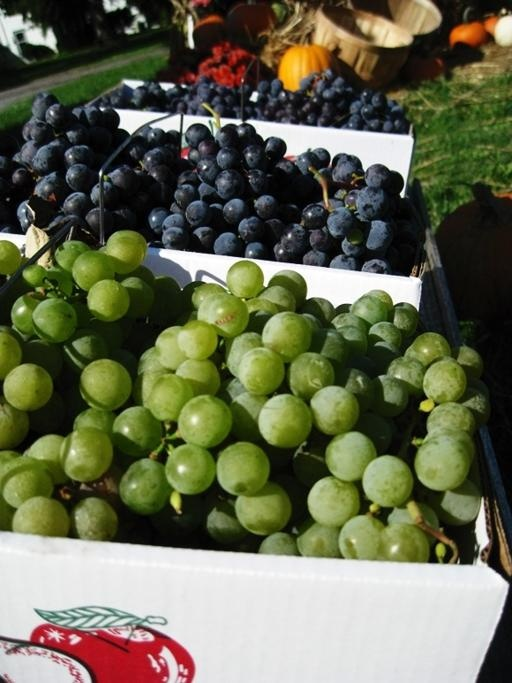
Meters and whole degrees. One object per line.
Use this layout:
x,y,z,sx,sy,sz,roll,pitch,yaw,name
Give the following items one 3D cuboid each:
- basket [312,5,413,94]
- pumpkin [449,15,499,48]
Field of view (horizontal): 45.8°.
0.668,-1.972,3.960,0.595,0.345,0.631,0,42,-26,basket
1.830,-2.583,5.042,0.438,0.202,0.243,-21,50,-22,pumpkin
